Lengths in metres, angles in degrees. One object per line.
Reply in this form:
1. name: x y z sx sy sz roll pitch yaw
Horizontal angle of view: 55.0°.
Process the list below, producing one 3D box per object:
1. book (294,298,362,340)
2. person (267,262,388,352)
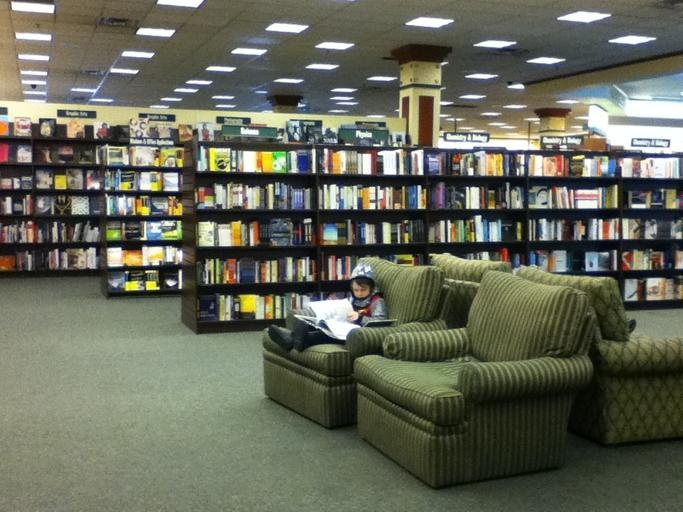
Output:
1. book: -0.087 0.463 4.880 0.327 0.119 0.322 34 16 37
2. person: -0.094 0.391 4.937 0.821 0.572 0.569 -1 -3 -29
